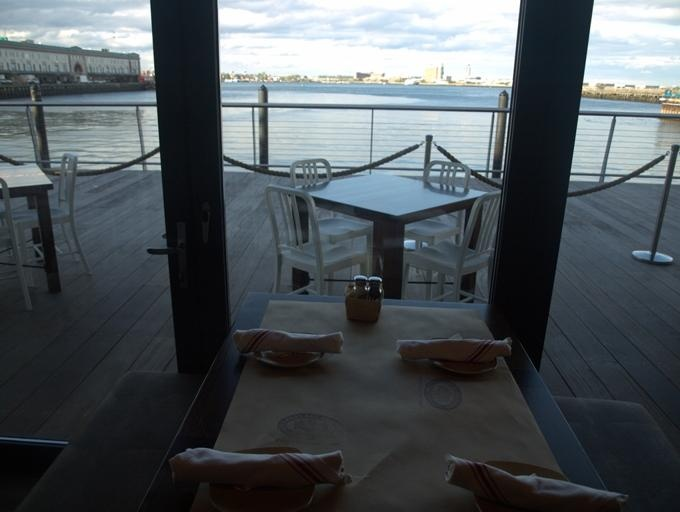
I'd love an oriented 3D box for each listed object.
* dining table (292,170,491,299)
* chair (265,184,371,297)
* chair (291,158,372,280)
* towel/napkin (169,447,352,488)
[{"bbox_3d":[0.188,-0.168,1.809,0.576,0.406,0.564,-25,39,-35],"label":"dining table"},{"bbox_3d":[-0.090,-0.087,1.824,0.232,0.437,0.285,29,46,33],"label":"chair"},{"bbox_3d":[-0.033,-0.169,1.845,0.287,0.436,0.257,24,44,30],"label":"chair"},{"bbox_3d":[-0.153,0.369,0.780,0.255,0.054,0.109,1,-14,2],"label":"towel/napkin"}]
